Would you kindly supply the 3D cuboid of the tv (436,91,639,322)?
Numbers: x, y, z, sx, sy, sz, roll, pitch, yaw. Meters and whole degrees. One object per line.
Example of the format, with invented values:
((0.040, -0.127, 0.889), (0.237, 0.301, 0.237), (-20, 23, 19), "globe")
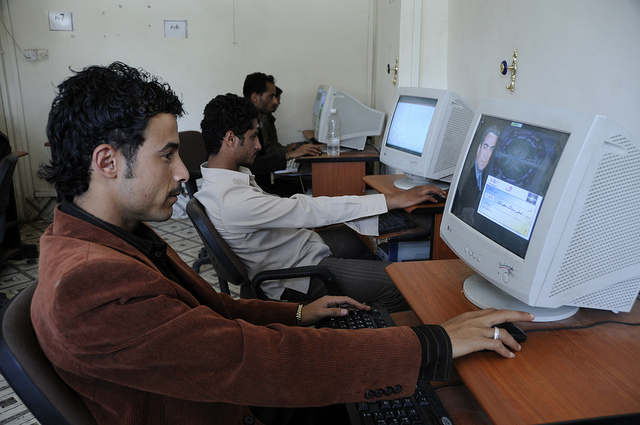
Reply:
((0.690, -0.007, 1.591), (0.573, 0.894, 0.807), (-5, 17, -6), "tv")

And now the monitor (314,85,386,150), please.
((0.292, -0.893, 4.090), (0.568, 0.485, 0.614), (-2, 8, -6), "monitor")

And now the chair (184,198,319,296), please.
((-0.340, 0.175, 2.035), (0.527, 0.665, 0.489), (-9, 16, -19), "chair")

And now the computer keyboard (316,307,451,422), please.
((0.192, 0.404, 1.112), (0.172, 0.060, 0.431), (-9, 17, -5), "computer keyboard")

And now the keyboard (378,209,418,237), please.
((0.407, 0.053, 2.291), (0.136, 0.031, 0.207), (-3, 21, -2), "keyboard")

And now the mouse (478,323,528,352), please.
((0.514, 0.330, 1.180), (0.129, 0.039, 0.068), (-11, 19, -20), "mouse")

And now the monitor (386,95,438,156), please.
((0.566, -0.525, 2.559), (0.183, 0.328, 0.341), (18, 9, -16), "monitor")
